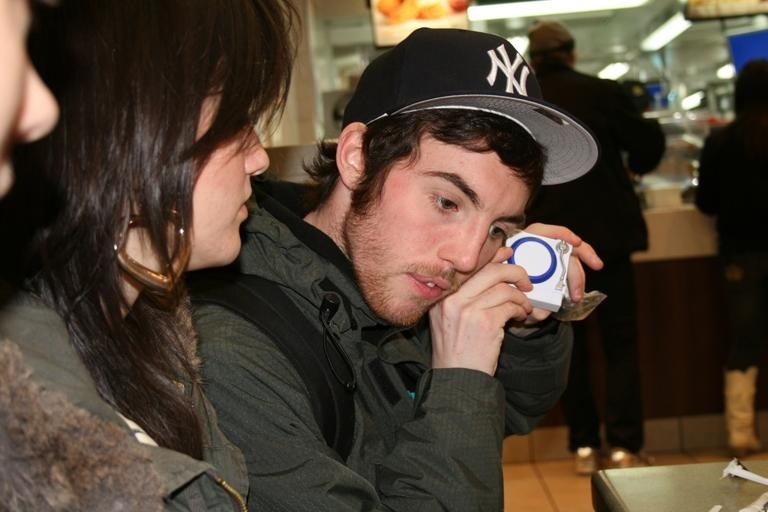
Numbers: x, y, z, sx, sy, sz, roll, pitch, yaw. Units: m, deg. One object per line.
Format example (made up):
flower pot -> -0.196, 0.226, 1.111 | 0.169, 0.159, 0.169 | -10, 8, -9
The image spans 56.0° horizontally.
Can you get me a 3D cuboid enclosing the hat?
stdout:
hat -> 0.196, -0.394, 1.884 | 0.478, 0.255, 0.384 | 1, -8, 42
